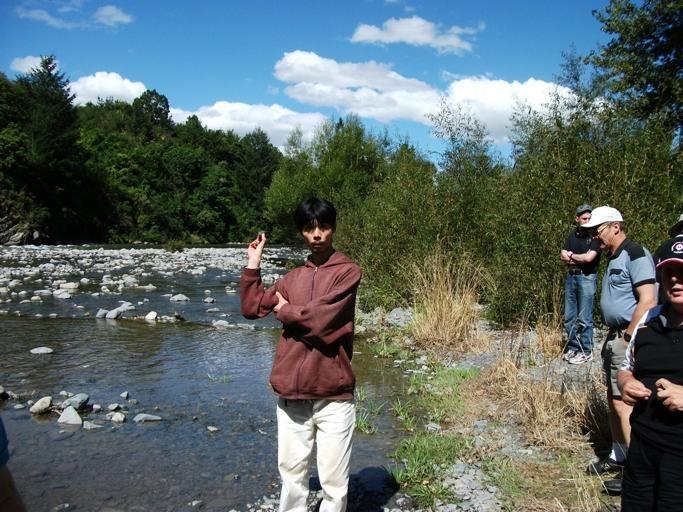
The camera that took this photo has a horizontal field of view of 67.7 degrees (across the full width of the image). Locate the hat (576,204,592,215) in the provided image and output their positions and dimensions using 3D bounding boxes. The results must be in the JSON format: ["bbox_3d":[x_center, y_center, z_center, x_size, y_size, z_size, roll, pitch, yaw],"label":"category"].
[{"bbox_3d":[4.241,-0.800,8.947,0.223,0.192,0.336,2,-9,12],"label":"hat"}]

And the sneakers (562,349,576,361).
[{"bbox_3d":[4.074,1.785,9.065,0.273,0.142,0.109,4,-12,5],"label":"sneakers"}]

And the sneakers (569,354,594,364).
[{"bbox_3d":[4.218,1.799,8.966,0.437,0.207,0.172,-3,-6,-7],"label":"sneakers"}]

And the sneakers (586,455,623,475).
[{"bbox_3d":[3.020,2.423,5.886,0.371,0.178,0.161,-2,-3,6],"label":"sneakers"}]

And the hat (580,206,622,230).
[{"bbox_3d":[3.085,-0.429,6.008,0.322,0.207,0.251,1,-4,23],"label":"hat"}]

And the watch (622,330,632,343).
[{"bbox_3d":[2.980,0.848,5.314,0.107,0.100,0.117,-3,5,-7],"label":"watch"}]
